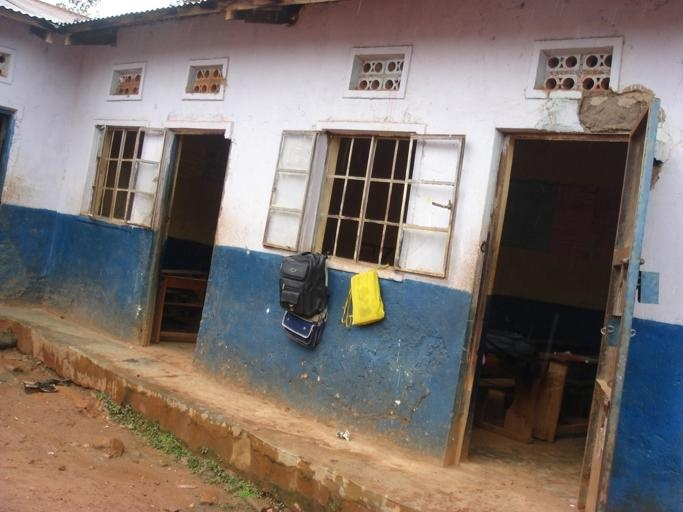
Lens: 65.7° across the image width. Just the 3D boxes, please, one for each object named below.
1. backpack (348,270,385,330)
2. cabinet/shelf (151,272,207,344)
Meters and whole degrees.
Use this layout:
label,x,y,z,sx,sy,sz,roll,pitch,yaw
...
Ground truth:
label,x,y,z,sx,sy,sz,roll,pitch,yaw
backpack,0.280,0.465,5.529,0.460,0.580,0.149,-17,-25,34
cabinet/shelf,-2.573,0.826,8.323,0.737,0.988,1.007,5,-1,23
